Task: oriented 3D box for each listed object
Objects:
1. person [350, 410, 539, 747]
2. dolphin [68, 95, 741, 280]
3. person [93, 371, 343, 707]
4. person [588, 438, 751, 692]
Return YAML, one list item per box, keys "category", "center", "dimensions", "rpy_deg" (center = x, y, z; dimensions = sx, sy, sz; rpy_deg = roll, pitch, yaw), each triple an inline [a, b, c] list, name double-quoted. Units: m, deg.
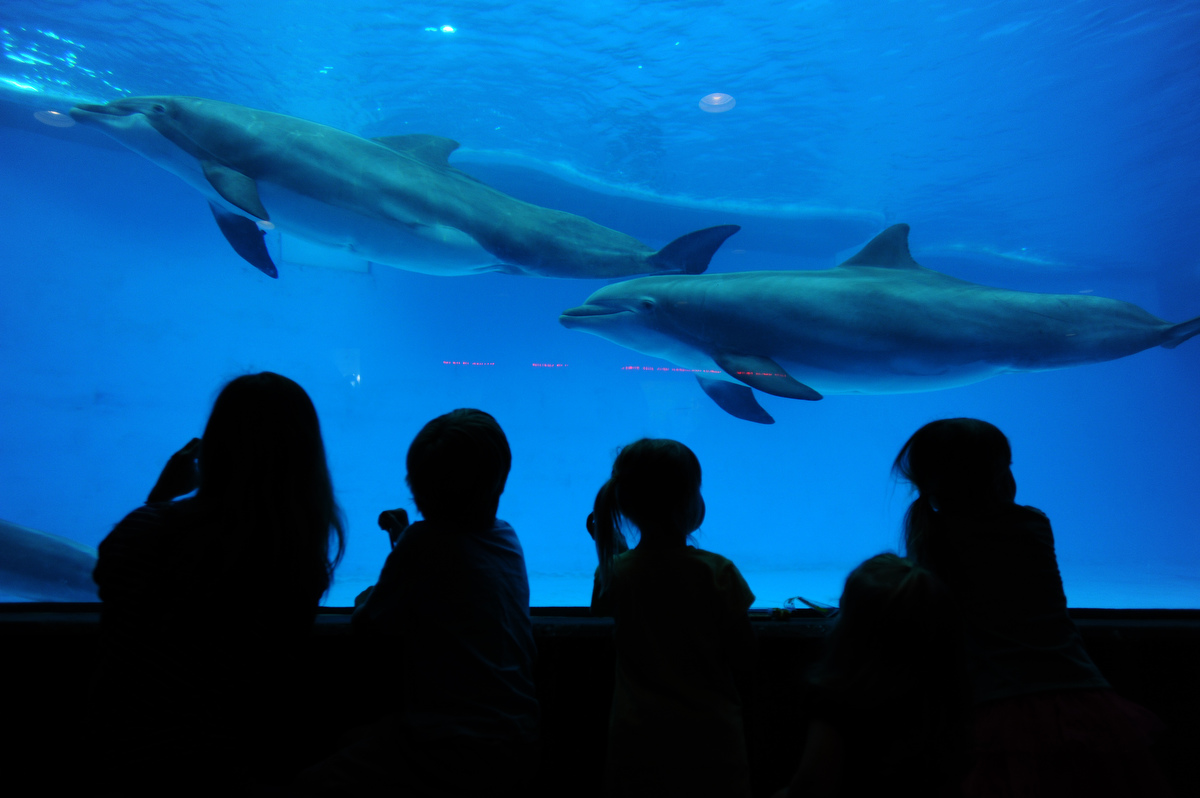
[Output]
- category: "person"
  center: [-0.926, 1.057, 6.516]
  dimensions: [1.078, 1.988, 0.483]
  rpy_deg: [1, -16, -4]
- category: "dolphin"
  center: [-1.756, -1.658, 8.921]
  dimensions: [5.239, 1.180, 1.323]
  rpy_deg: [15, -6, -11]
- category: "person"
  center: [-2.300, 0.831, 6.564]
  dimensions: [1.393, 1.961, 0.597]
  rpy_deg: [3, -16, -12]
- category: "person"
  center: [0.450, 1.006, 6.669]
  dimensions: [0.966, 1.483, 0.407]
  rpy_deg: [0, -16, -2]
